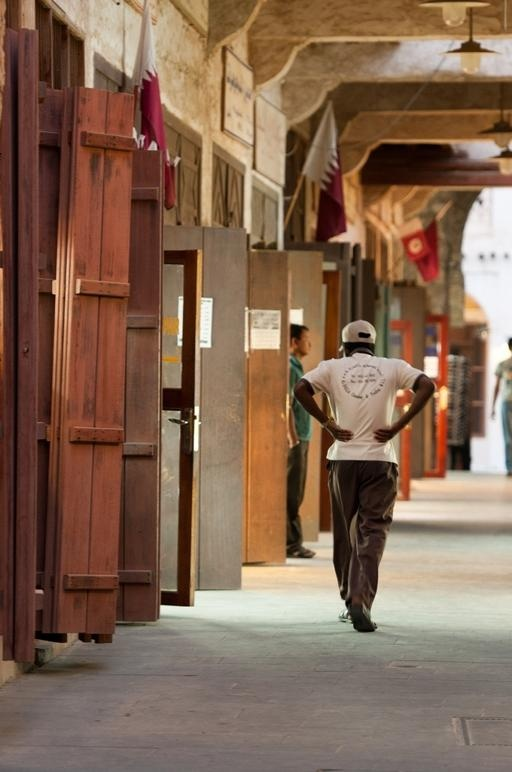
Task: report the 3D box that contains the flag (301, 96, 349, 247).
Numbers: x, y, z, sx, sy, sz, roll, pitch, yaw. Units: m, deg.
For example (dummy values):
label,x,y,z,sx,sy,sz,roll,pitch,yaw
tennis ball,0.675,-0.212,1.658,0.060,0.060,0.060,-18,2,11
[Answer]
label,x,y,z,sx,sy,sz,roll,pitch,yaw
flag,0.699,-1.944,14.594,0.283,1.375,0.125,3,18,24

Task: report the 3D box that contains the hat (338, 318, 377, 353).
label,x,y,z,sx,sy,sz,roll,pitch,yaw
hat,0.526,-0.246,7.962,0.139,0.187,0.266,4,1,1

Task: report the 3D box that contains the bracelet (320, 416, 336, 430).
label,x,y,z,sx,sy,sz,roll,pitch,yaw
bracelet,0.370,0.188,7.823,0.103,0.078,0.198,2,0,5

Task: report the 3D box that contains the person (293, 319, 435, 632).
label,x,y,z,sx,sy,sz,roll,pitch,yaw
person,0.552,0.429,7.724,0.532,1.512,0.596,2,-2,-43

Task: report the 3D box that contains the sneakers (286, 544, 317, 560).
label,x,y,z,sx,sy,sz,roll,pitch,yaw
sneakers,0.349,1.262,11.734,0.224,0.135,0.089,-2,-4,6
